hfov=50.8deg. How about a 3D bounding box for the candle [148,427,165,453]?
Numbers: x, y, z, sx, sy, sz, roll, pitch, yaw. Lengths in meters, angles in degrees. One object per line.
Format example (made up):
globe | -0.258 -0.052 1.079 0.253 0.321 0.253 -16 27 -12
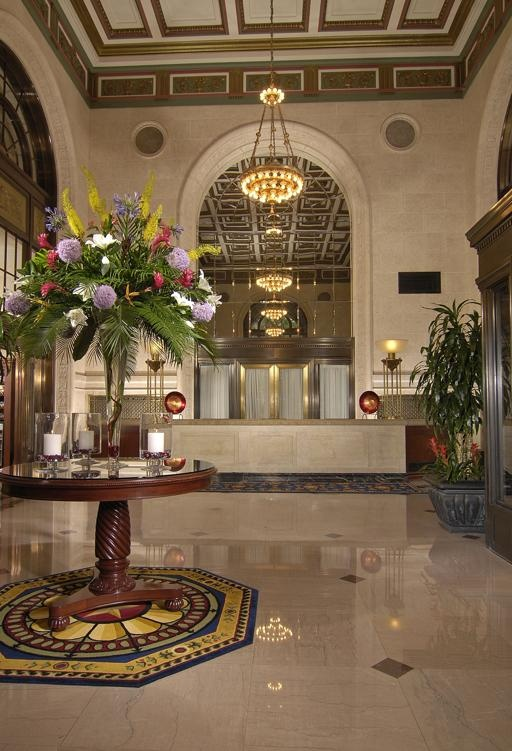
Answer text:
candle | -0.458 0.307 2.529 0.093 0.109 0.095 1 2 2

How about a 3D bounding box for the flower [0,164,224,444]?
flower | -0.678 -0.279 2.493 0.993 1.193 0.592 1 -5 -12

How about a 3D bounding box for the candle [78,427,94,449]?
candle | -0.800 0.308 2.599 0.081 0.096 0.083 0 -6 6

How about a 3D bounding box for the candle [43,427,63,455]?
candle | -0.880 0.303 2.361 0.086 0.101 0.088 2 -6 -16

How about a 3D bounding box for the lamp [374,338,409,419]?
lamp | 2.246 0.057 8.900 0.383 1.283 1.843 -1 -5 16

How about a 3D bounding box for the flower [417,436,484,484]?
flower | 1.638 0.718 4.499 0.415 0.267 0.478 1 -7 -8
